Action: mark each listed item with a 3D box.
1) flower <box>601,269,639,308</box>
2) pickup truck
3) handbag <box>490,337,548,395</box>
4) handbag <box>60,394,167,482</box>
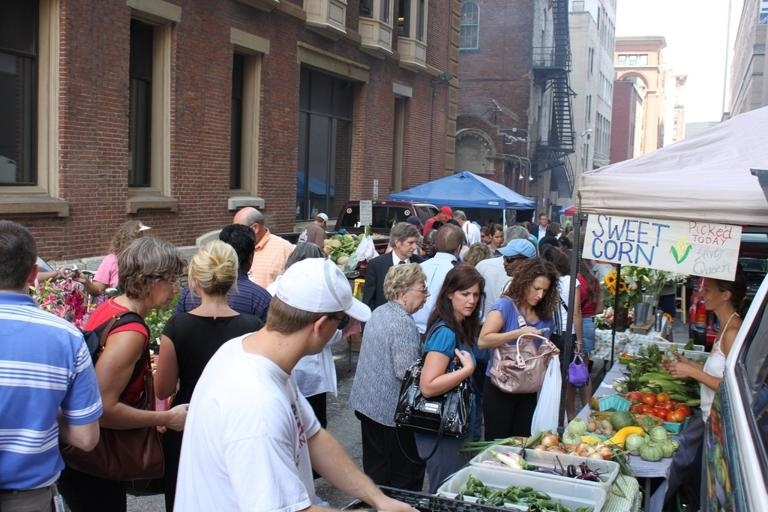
[{"bbox_3d":[3.895,0.532,11.531,0.640,0.668,0.301,-23,-5,23],"label":"flower"},{"bbox_3d":[-0.432,-0.507,17.781,1.437,1.417,2.463,2,9,28],"label":"pickup truck"},{"bbox_3d":[1.309,0.994,6.777,0.684,0.708,0.378,0,6,-28],"label":"handbag"},{"bbox_3d":[-1.834,1.350,4.757,0.642,0.383,0.156,-1,6,-23],"label":"handbag"}]
